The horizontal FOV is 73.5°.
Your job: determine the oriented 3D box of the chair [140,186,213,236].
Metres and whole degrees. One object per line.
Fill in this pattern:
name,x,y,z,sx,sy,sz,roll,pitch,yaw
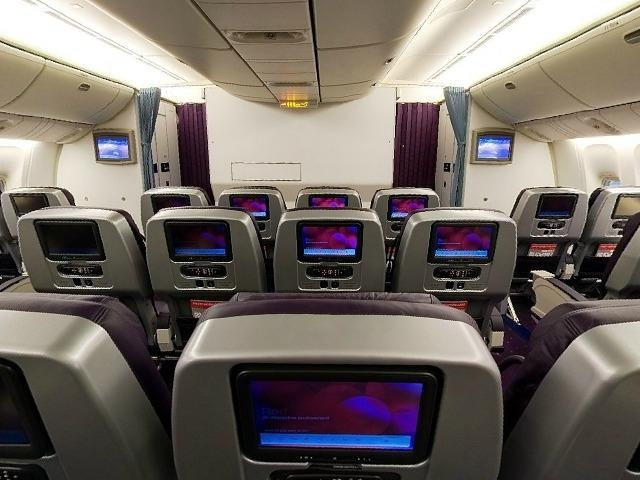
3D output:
chair,-1.587,-0.153,4.603,0.725,0.716,0.408,-2,-23,-30

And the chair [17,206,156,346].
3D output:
chair,-1.470,0.102,3.214,0.737,1.073,1.110,1,15,-4

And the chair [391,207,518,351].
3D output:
chair,0.861,0.107,2.982,0.744,1.119,0.969,-1,26,7

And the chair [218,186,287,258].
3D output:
chair,-0.659,-0.163,4.594,0.633,0.902,0.847,1,15,2

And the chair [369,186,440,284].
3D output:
chair,0.796,-0.083,4.209,0.730,1.117,0.904,2,7,4

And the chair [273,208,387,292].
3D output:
chair,0.066,0.007,2.859,0.761,0.597,0.477,-1,24,-4

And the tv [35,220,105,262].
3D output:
tv,-1.534,0.010,2.650,0.398,0.286,0.087,2,13,4
